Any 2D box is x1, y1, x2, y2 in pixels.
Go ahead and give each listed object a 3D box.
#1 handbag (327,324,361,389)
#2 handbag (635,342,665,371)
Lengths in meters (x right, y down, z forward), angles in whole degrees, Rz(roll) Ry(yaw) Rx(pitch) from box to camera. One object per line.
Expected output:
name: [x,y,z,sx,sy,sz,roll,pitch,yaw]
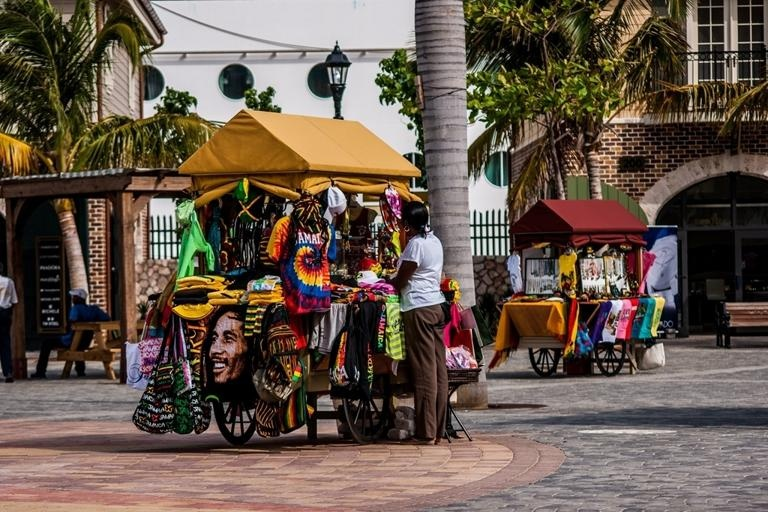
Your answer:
handbag: [-0.742,1.635,28.841,0.482,0.979,0.637,-1,-2,-16]
handbag: [5.591,2.123,37.171,0.524,0.490,0.309,-4,-23,32]
